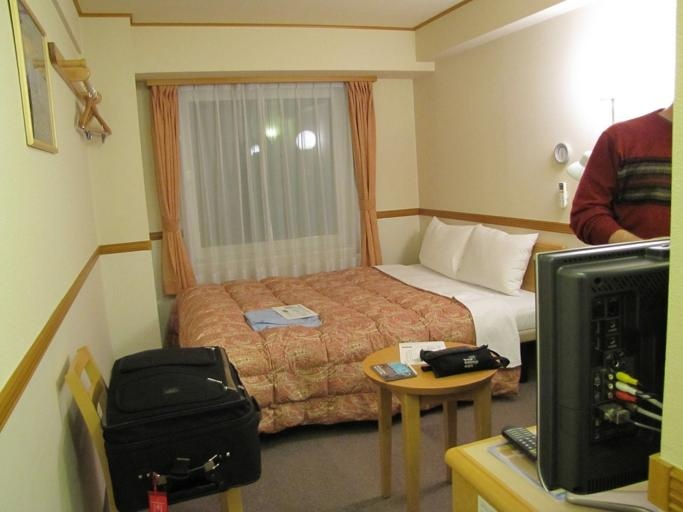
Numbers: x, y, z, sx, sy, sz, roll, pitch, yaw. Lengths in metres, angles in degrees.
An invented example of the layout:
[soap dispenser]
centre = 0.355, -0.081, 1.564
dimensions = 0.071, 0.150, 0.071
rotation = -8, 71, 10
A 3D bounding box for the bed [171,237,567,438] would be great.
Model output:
[bed]
centre = 0.113, 0.499, 3.681
dimensions = 1.843, 0.696, 1.808
rotation = -1, 5, -17

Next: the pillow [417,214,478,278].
[pillow]
centre = 1.035, -0.121, 5.166
dimensions = 0.278, 0.683, 1.114
rotation = 6, -1, -10

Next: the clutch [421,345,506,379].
[clutch]
centre = 0.608, 0.523, 2.633
dimensions = 0.244, 0.076, 0.214
rotation = -5, 3, -15

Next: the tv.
[tv]
centre = 0.644, 0.283, 1.273
dimensions = 0.329, 0.588, 0.141
rotation = -3, 13, -2
